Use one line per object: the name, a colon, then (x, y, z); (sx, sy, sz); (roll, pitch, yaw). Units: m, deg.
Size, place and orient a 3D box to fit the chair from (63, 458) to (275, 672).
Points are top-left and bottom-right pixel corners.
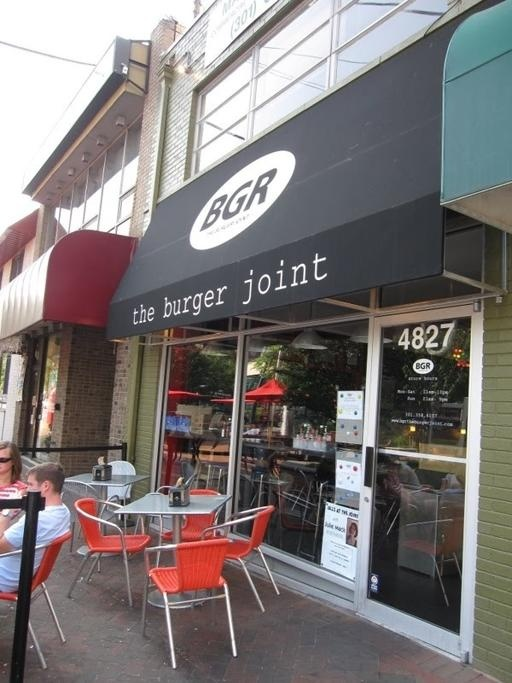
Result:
chair: (-0.607, 1.601, 3.990); (1.370, 0.691, 1.391); (-2, -14, 12)
